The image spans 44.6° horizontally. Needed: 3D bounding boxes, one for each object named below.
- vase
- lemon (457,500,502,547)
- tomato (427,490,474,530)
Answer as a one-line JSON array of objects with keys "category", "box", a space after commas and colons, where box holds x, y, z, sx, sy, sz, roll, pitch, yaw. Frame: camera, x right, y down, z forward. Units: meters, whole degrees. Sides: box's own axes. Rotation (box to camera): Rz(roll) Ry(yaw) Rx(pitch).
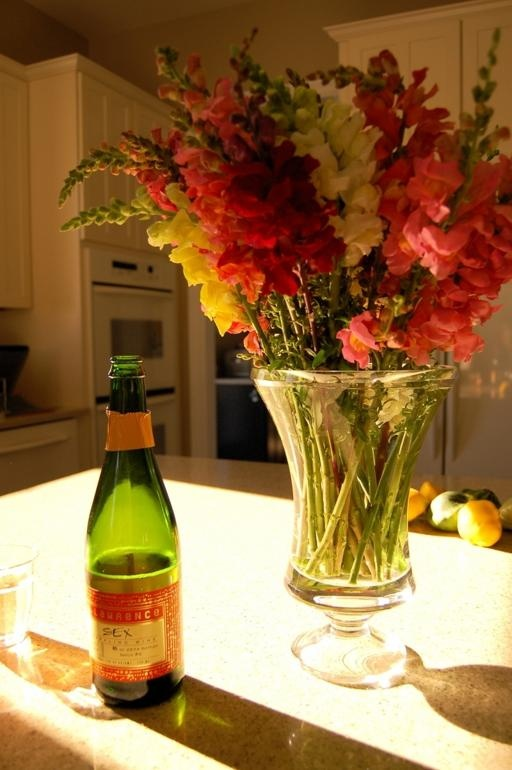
[{"category": "vase", "box": [0.075, 0.103, 0.504, 0.165, 0.240, 0.161, 1, 0, -35]}, {"category": "lemon", "box": [0.265, 0.174, 0.786, 0.050, 0.059, 0.054, 0, -26, -3]}, {"category": "tomato", "box": [0.249, 0.162, 0.814, 0.044, 0.029, 0.053, -9, -4, 5]}]
